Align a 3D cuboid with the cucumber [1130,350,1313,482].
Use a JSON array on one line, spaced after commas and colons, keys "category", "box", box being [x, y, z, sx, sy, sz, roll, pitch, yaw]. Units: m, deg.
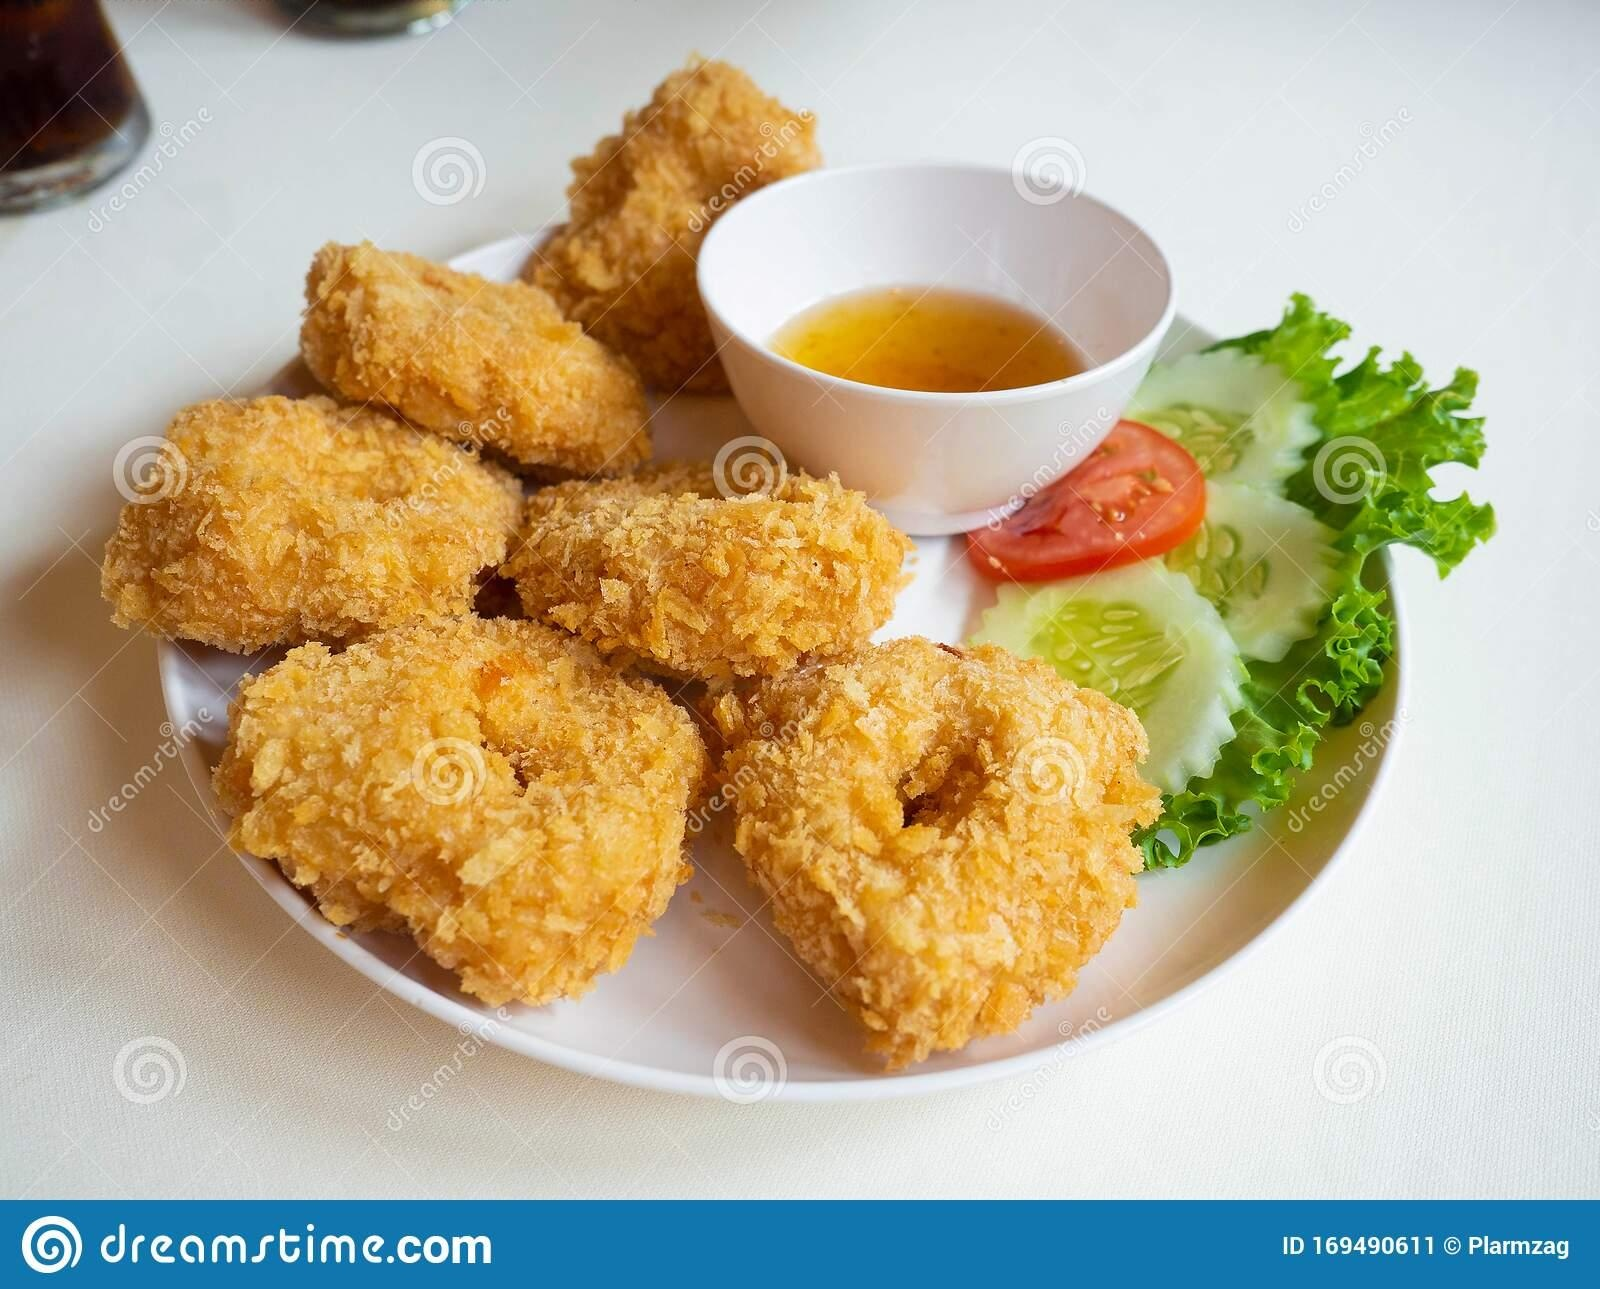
[{"category": "cucumber", "box": [0.952, -0.508, 3.300, 0.322, 0.057, 0.335, 31, 89, 32]}]
